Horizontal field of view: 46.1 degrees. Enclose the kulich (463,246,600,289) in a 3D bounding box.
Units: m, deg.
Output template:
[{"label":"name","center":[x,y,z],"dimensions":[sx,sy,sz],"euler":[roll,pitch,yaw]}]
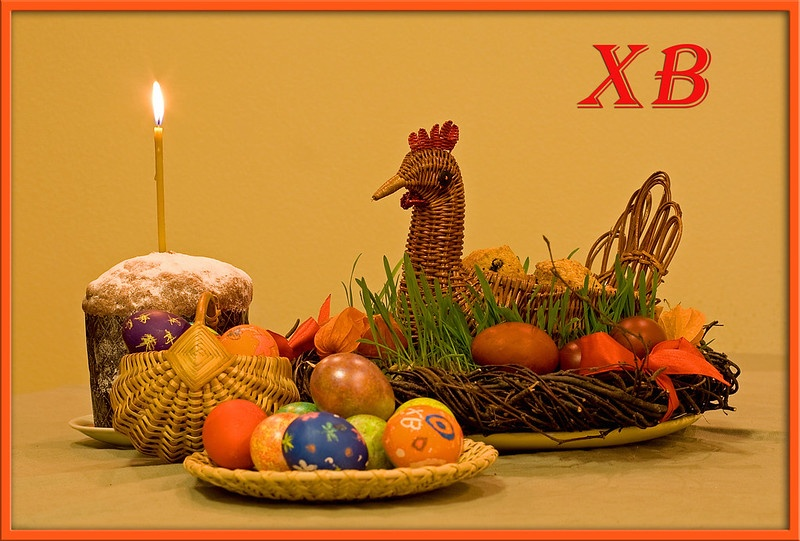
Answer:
[{"label":"kulich","center":[0.405,0.001,2.885],"dimensions":[0.305,0.086,0.252],"euler":[7,-3,-5]}]
